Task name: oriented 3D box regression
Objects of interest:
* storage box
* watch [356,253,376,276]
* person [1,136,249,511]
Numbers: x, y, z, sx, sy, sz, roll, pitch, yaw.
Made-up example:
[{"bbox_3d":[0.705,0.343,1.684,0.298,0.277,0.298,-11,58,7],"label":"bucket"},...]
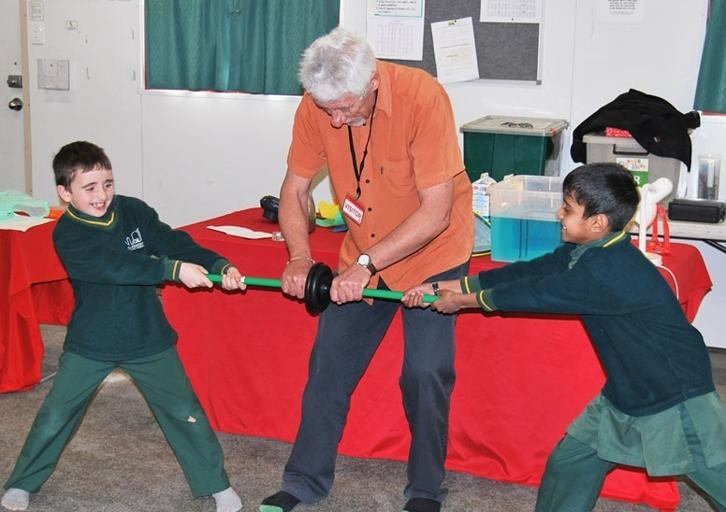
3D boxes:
[{"bbox_3d":[1.014,-0.408,3.571,0.886,0.838,1.324,1,7,11],"label":"storage box"},{"bbox_3d":[0.013,0.029,2.616,0.093,0.059,0.089,40,-9,-8],"label":"watch"},{"bbox_3d":[-1.110,0.340,2.874,1.113,1.690,0.498,0,12,-10],"label":"person"}]
